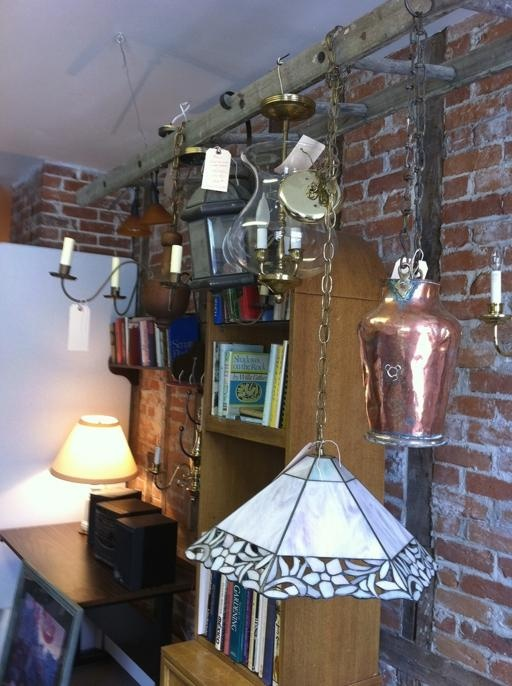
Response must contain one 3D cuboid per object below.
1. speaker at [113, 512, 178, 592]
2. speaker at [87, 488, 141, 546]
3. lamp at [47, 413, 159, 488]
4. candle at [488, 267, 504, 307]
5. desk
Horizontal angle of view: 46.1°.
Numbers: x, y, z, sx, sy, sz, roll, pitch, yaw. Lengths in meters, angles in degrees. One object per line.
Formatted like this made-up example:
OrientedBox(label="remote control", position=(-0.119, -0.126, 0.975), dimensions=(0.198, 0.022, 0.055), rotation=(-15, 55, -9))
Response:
OrientedBox(label="speaker", position=(-0.429, 0.778, 2.272), dimensions=(0.245, 0.221, 0.227), rotation=(3, -5, -21))
OrientedBox(label="speaker", position=(-0.643, 0.788, 2.667), dimensions=(0.276, 0.249, 0.195), rotation=(1, -1, -18))
OrientedBox(label="lamp", position=(-0.707, 0.489, 2.756), dimensions=(0.354, 0.237, 0.339), rotation=(1, -9, 9))
OrientedBox(label="candle", position=(0.474, -0.109, 1.190), dimensions=(0.015, 0.070, 0.193), rotation=(3, 3, 23))
OrientedBox(label="desk", position=(-0.617, 0.675, 2.306), dimensions=(0.570, 0.468, 1.016), rotation=(-1, 3, -32))
